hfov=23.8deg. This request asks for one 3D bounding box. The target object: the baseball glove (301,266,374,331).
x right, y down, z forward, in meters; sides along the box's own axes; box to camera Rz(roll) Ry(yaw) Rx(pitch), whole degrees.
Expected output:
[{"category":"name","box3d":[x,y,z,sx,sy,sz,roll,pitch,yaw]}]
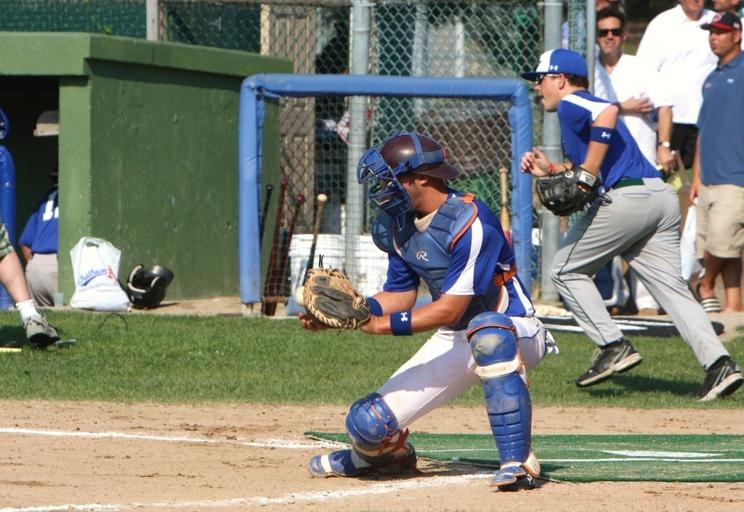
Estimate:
[{"category":"baseball glove","box3d":[-0.272,0.341,13.690,0.532,0.469,0.252,0,8,-1]}]

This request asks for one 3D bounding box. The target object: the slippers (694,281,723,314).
[{"category":"slippers","box3d":[3.439,0.437,17.963,0.181,0.192,0.526,-3,16,-12]}]

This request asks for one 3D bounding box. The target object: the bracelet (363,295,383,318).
[{"category":"bracelet","box3d":[0.015,0.397,13.852,0.103,0.148,0.044,-21,-19,-45]}]

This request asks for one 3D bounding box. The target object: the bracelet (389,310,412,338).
[{"category":"bracelet","box3d":[0.230,0.521,13.662,0.169,0.134,0.169,-2,-3,-31]}]

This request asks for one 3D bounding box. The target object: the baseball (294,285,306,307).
[{"category":"baseball","box3d":[-0.530,0.313,13.690,0.112,0.120,0.132,6,-19,-21]}]

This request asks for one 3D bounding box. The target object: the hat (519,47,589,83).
[{"category":"hat","box3d":[1.647,-1.674,15.541,0.548,0.293,0.375,0,-1,6]}]

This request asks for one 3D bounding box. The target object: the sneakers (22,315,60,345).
[{"category":"sneakers","box3d":[-3.071,0.693,16.440,0.190,0.230,0.347,-12,4,16]}]

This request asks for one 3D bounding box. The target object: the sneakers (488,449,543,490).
[{"category":"sneakers","box3d":[1.117,1.685,13.644,0.176,0.249,0.519,-8,-10,27]}]

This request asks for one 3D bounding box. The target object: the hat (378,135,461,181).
[{"category":"hat","box3d":[0.363,-0.769,13.892,0.702,0.368,0.533,0,9,6]}]

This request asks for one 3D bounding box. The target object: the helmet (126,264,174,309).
[{"category":"helmet","box3d":[-2.360,0.321,18.906,0.393,0.351,0.548,14,27,26]}]

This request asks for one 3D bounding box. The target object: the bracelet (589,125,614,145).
[{"category":"bracelet","box3d":[2.005,-1.027,15.232,0.148,0.111,0.155,8,5,40]}]

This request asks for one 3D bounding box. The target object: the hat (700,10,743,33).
[{"category":"hat","box3d":[3.379,-2.191,16.730,0.280,0.153,0.210,1,6,-17]}]
